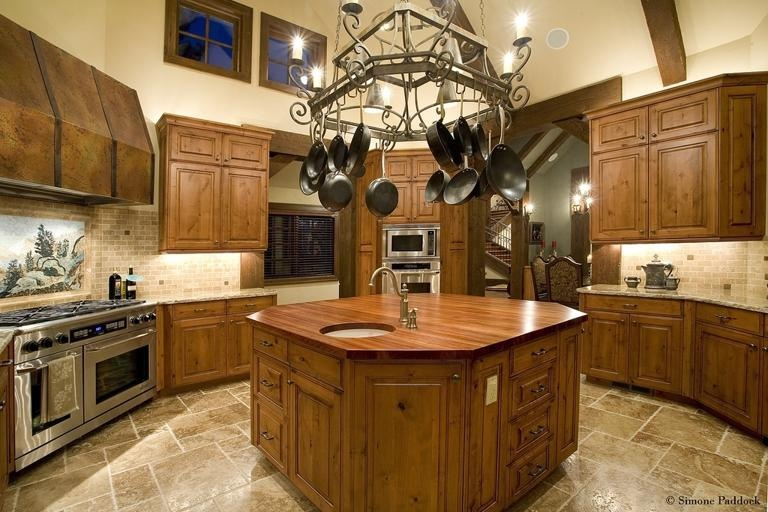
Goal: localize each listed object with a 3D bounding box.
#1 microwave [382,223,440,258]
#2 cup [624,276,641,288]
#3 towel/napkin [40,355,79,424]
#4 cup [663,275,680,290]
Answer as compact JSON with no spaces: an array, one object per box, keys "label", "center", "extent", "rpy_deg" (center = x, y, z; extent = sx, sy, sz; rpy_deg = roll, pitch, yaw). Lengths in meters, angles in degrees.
[{"label":"microwave","center":[0.405,-0.244,7.754],"extent":[0.919,0.610,0.488],"rpy_deg":[0,0,2]},{"label":"cup","center":[3.039,0.293,6.018],"extent":[0.146,0.111,0.158],"rpy_deg":[0,3,0]},{"label":"towel/napkin","center":[-3.066,1.240,4.656],"extent":[0.053,0.551,0.346],"rpy_deg":[5,12,29]},{"label":"cup","center":[3.419,0.326,5.856],"extent":[0.174,0.128,0.133],"rpy_deg":[1,-2,9]}]
